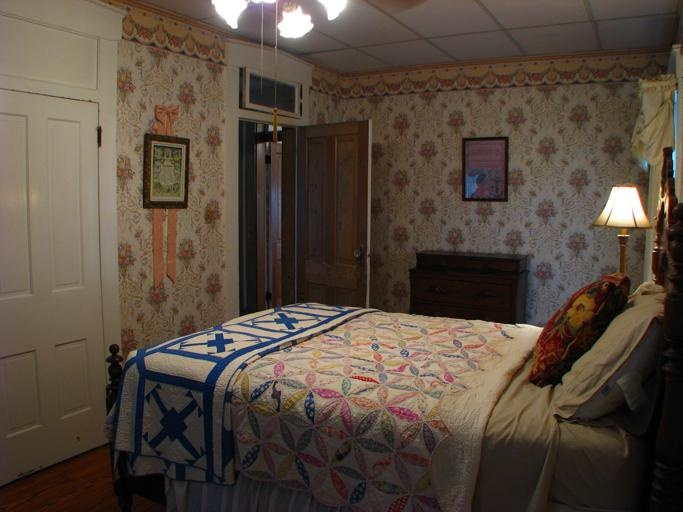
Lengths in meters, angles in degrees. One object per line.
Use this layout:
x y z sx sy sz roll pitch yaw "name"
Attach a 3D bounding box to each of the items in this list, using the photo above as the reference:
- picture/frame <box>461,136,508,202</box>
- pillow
1.460 -0.880 5.567 0.477 0.744 0.032 1 -19 13 "picture/frame"
1.256 0.447 2.508 0.670 0.484 0.396 -9 16 -33 "pillow"
